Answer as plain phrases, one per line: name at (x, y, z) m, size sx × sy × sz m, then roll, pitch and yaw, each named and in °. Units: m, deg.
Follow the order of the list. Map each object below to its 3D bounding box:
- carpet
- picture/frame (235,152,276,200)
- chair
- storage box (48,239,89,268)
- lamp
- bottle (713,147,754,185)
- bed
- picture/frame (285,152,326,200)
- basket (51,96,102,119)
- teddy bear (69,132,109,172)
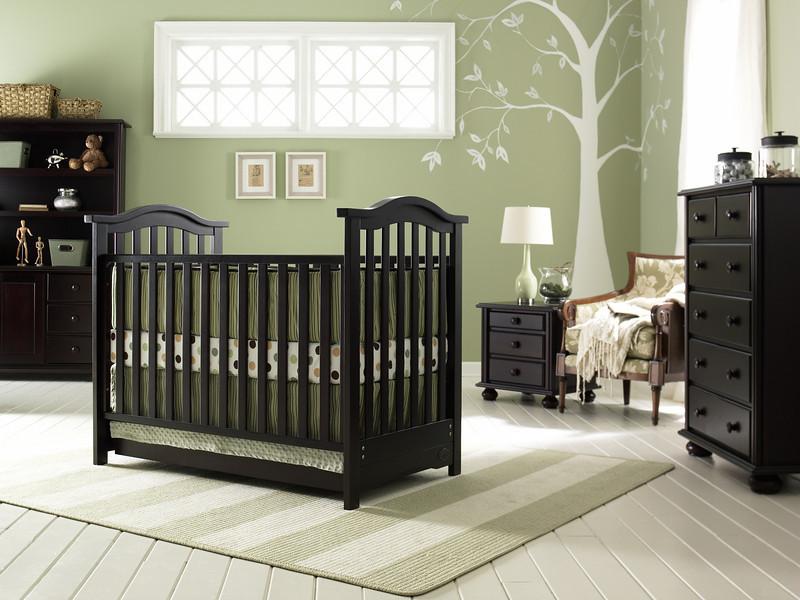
carpet at (-0.236, 0.797, 2.587) m, size 2.585 × 0.042 × 1.292 m, roll 1°, pitch 5°, yaw 7°
picture/frame at (-1.175, -1.021, 5.223) m, size 0.400 × 0.440 × 0.049 m, roll 0°, pitch -1°, yaw -1°
chair at (1.406, 0.259, 4.126) m, size 0.742 × 0.862 × 0.823 m, roll 2°, pitch 6°, yaw 22°
storage box at (-2.634, -0.371, 5.096) m, size 0.271 × 0.181 × 0.222 m, roll 0°, pitch 1°, yaw -2°
lamp at (0.922, -0.344, 4.705) m, size 0.363 × 0.669 × 0.768 m, roll 1°, pitch 5°, yaw 10°
bottle at (1.489, -0.583, 2.941) m, size 0.189 × 0.194 × 0.191 m, roll 0°, pitch 3°, yaw 24°
bed at (-0.515, 0.252, 3.289) m, size 1.976 × 1.534 × 1.246 m, roll 1°, pitch 2°, yaw 27°
picture/frame at (-0.774, -1.023, 5.223) m, size 0.392 × 0.434 × 0.047 m, roll 0°, pitch 4°, yaw -4°
basket at (-2.591, -1.523, 5.131) m, size 0.335 × 0.126 × 0.199 m, roll 2°, pitch 3°, yaw 7°
teddy bear at (-2.485, -1.175, 5.119) m, size 0.266 × 0.277 × 0.247 m, roll -7°, pitch 21°, yaw -37°
